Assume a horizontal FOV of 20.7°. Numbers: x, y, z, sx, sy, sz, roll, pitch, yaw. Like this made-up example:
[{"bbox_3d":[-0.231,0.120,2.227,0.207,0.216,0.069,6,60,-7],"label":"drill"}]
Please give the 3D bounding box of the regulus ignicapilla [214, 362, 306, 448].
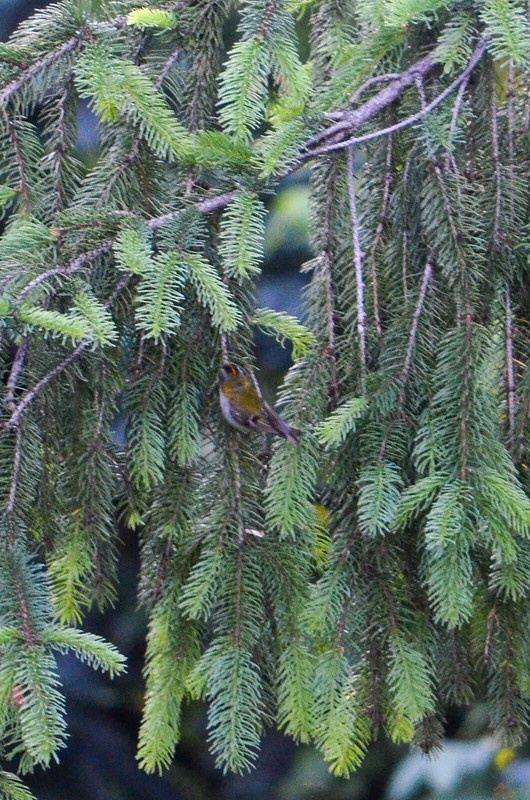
[{"bbox_3d":[-0.024,0.025,3.658,0.163,0.183,0.241,-12,27,-26],"label":"regulus ignicapilla"}]
